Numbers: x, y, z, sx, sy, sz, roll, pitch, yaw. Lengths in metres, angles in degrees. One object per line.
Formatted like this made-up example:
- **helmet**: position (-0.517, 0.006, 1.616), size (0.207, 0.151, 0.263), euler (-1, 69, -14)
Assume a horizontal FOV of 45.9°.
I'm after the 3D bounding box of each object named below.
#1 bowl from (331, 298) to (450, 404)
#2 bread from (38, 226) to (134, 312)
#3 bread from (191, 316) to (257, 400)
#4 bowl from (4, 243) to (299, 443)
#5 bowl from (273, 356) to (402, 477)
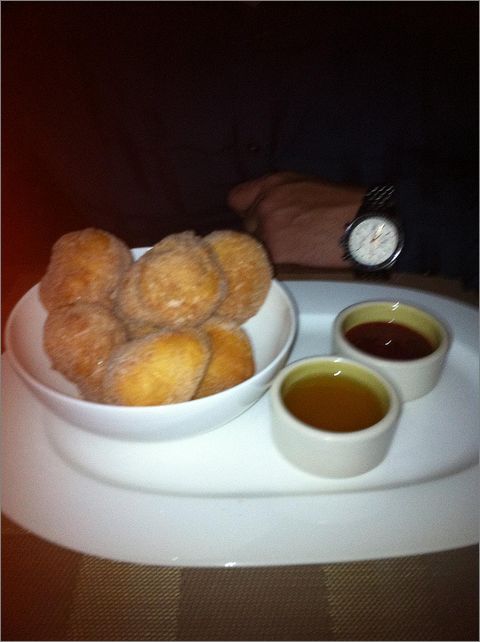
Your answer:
- **bowl**: position (0.164, 0.029, 0.604), size (0.135, 0.051, 0.114), euler (-7, 37, -2)
- **bread**: position (-0.168, -0.045, 0.627), size (0.103, 0.030, 0.088), euler (19, 70, 7)
- **bread**: position (-0.013, 0.034, 0.540), size (0.067, 0.015, 0.069), euler (8, 52, -4)
- **bowl**: position (-0.069, 0.029, 0.493), size (0.222, 0.066, 0.187), euler (-5, 39, -11)
- **bowl**: position (0.077, 0.089, 0.545), size (0.122, 0.049, 0.118), euler (-1, 38, 0)
